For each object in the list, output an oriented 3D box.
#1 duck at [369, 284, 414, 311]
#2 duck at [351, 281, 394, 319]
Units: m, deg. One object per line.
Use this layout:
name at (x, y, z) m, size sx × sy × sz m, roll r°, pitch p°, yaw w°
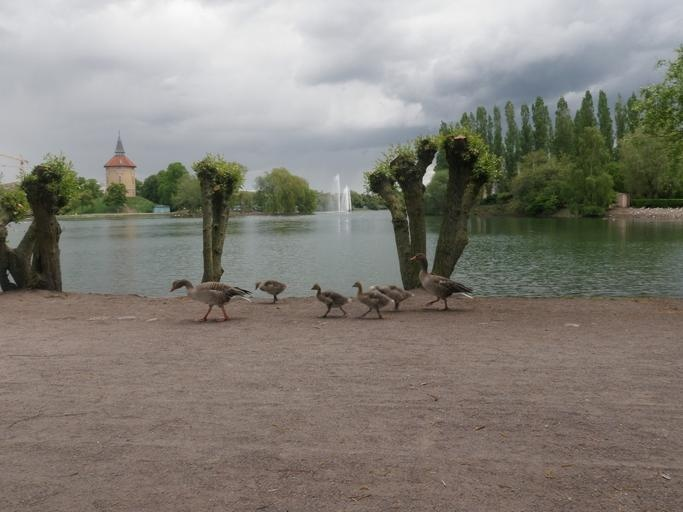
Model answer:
duck at (1.583, 1.271, 19.871) m, size 1.453 × 0.852 × 0.649 m, roll -1°, pitch -2°, yaw 7°
duck at (1.110, 1.272, 18.846) m, size 1.456 × 0.916 × 0.781 m, roll 4°, pitch -5°, yaw -36°
